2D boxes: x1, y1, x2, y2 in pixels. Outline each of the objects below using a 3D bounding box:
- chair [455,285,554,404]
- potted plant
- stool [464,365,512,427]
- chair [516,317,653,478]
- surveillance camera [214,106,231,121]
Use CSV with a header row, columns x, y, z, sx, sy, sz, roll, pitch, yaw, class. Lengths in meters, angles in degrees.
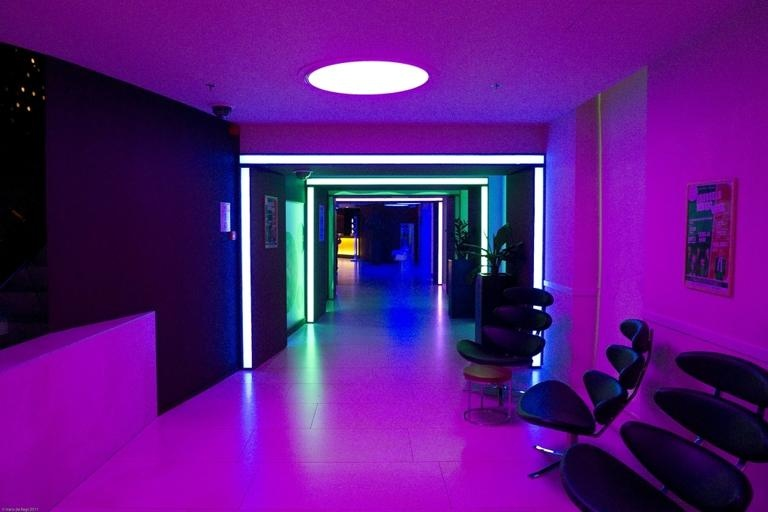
x,y,z,sx,sy,sz,roll,pitch,yaw,class
1.290,0.988,5.833,1.176,1.128,0.776,-4,9,-45,chair
1.465,0.386,7.915,0.644,1.209,1.973,1,1,5,potted plant
1.091,1.418,5.703,0.522,0.533,0.543,0,0,-4,stool
1.651,1.159,4.626,1.071,1.230,0.987,2,6,17,chair
-1.731,-1.519,5.885,0.122,0.084,0.119,-1,3,-25,surveillance camera
